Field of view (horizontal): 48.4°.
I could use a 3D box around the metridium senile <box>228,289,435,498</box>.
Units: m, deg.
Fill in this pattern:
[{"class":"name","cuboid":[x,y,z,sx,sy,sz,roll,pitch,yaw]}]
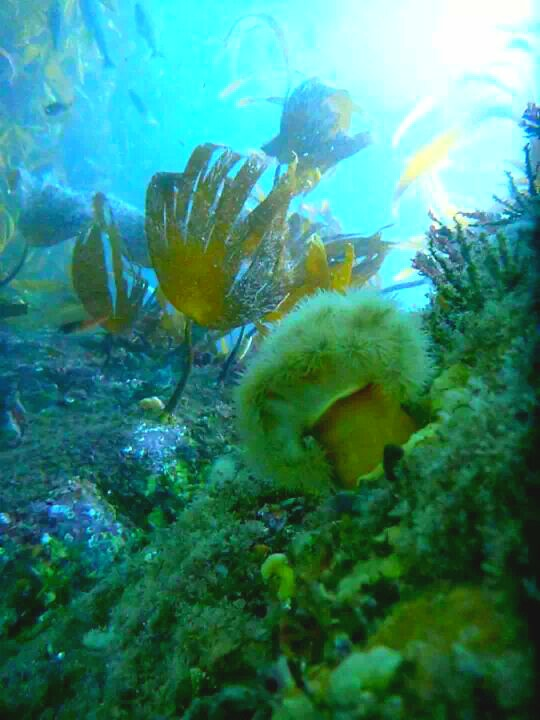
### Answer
[{"class":"metridium senile","cuboid":[0.104,0.074,0.854,0.268,0.237,0.142,-51,-33,9]}]
